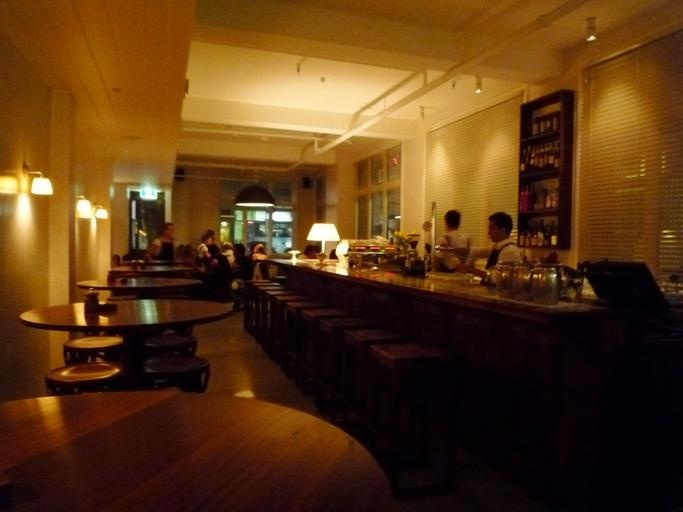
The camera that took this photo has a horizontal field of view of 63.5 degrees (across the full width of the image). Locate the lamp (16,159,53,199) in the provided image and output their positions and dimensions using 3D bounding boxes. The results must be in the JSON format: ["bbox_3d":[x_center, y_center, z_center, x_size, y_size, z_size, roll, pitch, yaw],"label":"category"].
[{"bbox_3d":[-2.650,-0.657,4.849,0.341,0.299,0.200,4,5,18],"label":"lamp"}]

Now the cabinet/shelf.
[{"bbox_3d":[2.319,-0.978,6.384,0.434,1.769,0.871,-3,12,-16],"label":"cabinet/shelf"}]

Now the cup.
[{"bbox_3d":[0.980,0.143,2.941,0.184,0.156,0.312,1,2,-17],"label":"cup"}]

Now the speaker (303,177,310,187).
[{"bbox_3d":[-0.985,-2.046,15.546,0.136,0.285,0.282,6,13,27],"label":"speaker"}]

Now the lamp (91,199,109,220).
[{"bbox_3d":[-3.834,-0.719,8.816,0.360,0.311,0.261,-6,-7,41],"label":"lamp"}]

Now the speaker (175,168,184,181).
[{"bbox_3d":[-4.217,-2.104,14.399,0.247,0.347,0.496,-3,12,-16],"label":"speaker"}]

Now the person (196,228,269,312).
[{"bbox_3d":[-2.138,0.230,10.111,1.317,1.097,1.511,4,9,1],"label":"person"}]
